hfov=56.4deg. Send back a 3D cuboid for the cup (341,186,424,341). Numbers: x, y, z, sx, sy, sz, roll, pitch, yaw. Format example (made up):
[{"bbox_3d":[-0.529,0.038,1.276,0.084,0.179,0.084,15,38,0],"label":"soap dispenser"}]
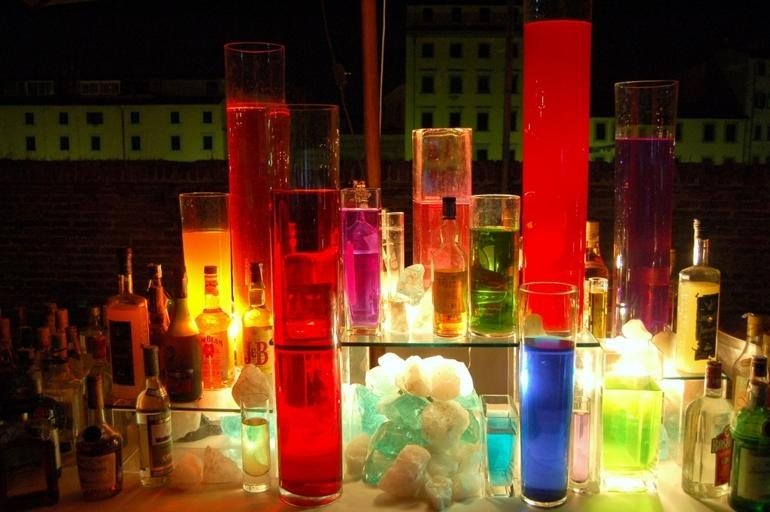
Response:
[{"bbox_3d":[-0.019,0.012,2.414,0.296,0.497,0.191,0,-4,-29],"label":"cup"}]

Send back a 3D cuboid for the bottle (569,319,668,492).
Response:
[{"bbox_3d":[0.761,0.478,2.284,0.242,0.540,0.099,-3,-3,14],"label":"bottle"}]

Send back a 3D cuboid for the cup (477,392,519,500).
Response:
[{"bbox_3d":[0.382,0.618,2.378,0.116,0.299,0.219,-2,-3,8],"label":"cup"}]

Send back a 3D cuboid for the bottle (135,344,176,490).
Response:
[{"bbox_3d":[-0.748,0.512,2.336,0.113,0.449,0.195,-1,-3,-18],"label":"bottle"}]

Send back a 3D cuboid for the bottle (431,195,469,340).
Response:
[{"bbox_3d":[0.212,0.076,2.314,0.119,0.376,0.094,-2,-3,3],"label":"bottle"}]
